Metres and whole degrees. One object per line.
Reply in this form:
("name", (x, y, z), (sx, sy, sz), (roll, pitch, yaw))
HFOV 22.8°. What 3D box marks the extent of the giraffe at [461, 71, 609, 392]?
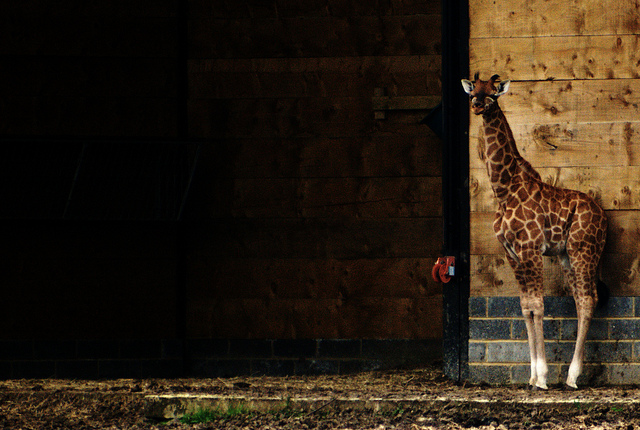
("giraffe", (3.064, 0.190, 21.929), (1.743, 4.456, 0.774), (-2, 8, 7))
